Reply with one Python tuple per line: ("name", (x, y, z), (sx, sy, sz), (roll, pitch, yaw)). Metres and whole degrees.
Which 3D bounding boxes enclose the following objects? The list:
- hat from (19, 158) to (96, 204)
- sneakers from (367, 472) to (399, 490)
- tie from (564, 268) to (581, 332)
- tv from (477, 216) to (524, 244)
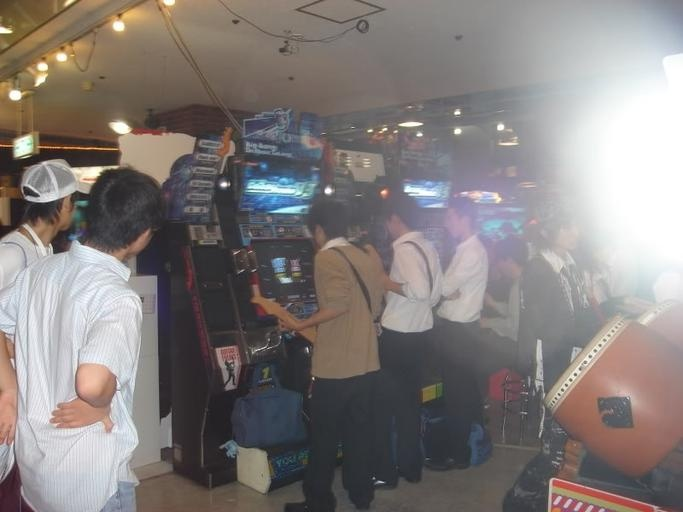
("hat", (-1.339, -0.358, 2.391), (0.225, 0.179, 0.326), (7, 28, 19))
("sneakers", (0.307, 1.589, 3.600), (0.166, 0.122, 0.054), (-3, -4, -8))
("tie", (1.589, 0.315, 3.484), (0.048, 0.428, 0.124), (-3, 17, 36))
("tv", (2.550, -0.422, 8.154), (0.713, 0.168, 0.719), (-1, 15, 8))
